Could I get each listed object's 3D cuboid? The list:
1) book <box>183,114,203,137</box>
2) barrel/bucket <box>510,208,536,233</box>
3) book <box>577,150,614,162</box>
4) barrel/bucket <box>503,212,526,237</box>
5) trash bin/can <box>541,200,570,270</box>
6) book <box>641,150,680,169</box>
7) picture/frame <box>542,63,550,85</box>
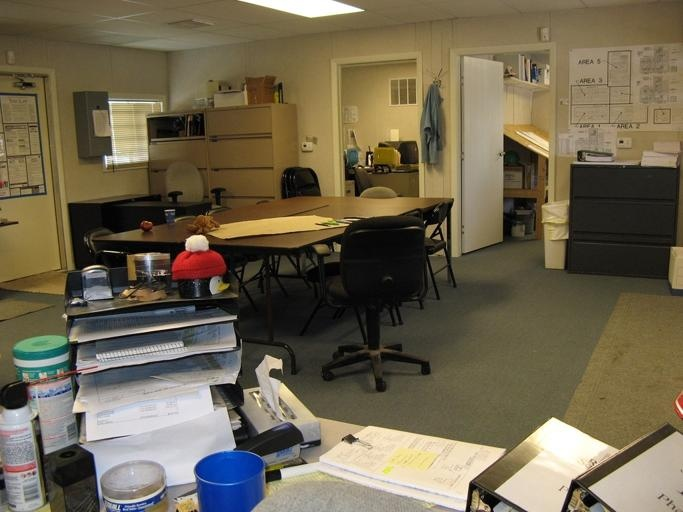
[{"bbox_3d":[-2.227,-1.972,7.705,0.394,0.362,0.125,6,16,29],"label":"book"},{"bbox_3d":[2.876,-0.538,8.049,0.349,0.378,0.323,-2,13,0],"label":"barrel/bucket"},{"bbox_3d":[2.945,-1.141,5.933,0.297,0.087,0.214,5,9,33],"label":"book"},{"bbox_3d":[2.738,-0.472,8.182,0.375,0.436,0.489,-1,2,-24],"label":"barrel/bucket"},{"bbox_3d":[2.526,-0.260,6.234,0.363,0.772,0.349,5,13,15],"label":"trash bin/can"},{"bbox_3d":[3.534,-1.065,5.650,0.351,0.160,0.397,6,15,30],"label":"book"},{"bbox_3d":[3.645,-3.223,9.107,0.050,0.357,0.195,11,19,44],"label":"picture/frame"}]
